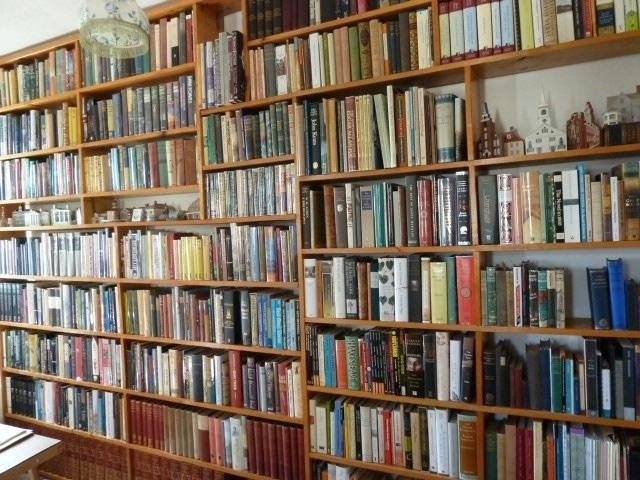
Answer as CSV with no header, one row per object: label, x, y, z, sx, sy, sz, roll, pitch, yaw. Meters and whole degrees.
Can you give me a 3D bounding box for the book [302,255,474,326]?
book,0.364,0.272,3.319,0.986,0.368,0.064,-2,1,22
